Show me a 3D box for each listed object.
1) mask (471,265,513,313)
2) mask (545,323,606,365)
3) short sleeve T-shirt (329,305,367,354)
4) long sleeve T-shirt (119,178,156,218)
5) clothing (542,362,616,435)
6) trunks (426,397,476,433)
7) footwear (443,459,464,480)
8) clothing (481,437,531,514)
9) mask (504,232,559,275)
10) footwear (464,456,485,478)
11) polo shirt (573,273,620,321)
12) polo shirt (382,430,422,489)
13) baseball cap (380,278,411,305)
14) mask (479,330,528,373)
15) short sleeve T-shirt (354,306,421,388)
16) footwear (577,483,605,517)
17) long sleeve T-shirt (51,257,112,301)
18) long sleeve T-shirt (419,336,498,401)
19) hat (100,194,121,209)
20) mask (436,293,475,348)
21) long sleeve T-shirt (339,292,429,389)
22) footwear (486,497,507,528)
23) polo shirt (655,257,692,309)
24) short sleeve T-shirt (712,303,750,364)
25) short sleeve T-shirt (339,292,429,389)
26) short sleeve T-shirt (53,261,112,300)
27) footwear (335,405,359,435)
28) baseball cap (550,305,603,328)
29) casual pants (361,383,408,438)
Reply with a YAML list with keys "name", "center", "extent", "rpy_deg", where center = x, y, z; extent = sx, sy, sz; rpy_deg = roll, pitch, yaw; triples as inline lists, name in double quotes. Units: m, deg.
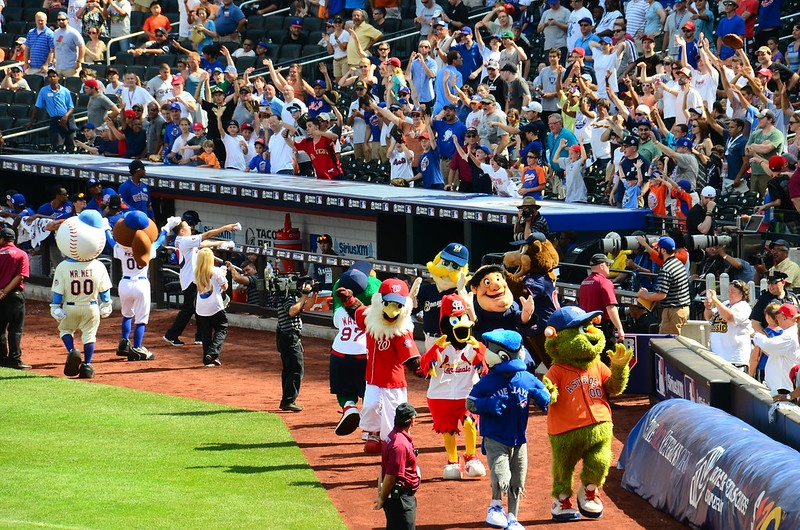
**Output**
- name: "mask"
  center: [1.283, 0.350, 18.466]
  extent: [0.546, 0.694, 0.530]
  rpy_deg: [-13, 3, -10]
- name: "mask"
  center: [2.265, 1.039, 17.212]
  extent: [0.803, 0.719, 0.841]
  rpy_deg: [0, -1, -12]
- name: "short sleeve T-shirt"
  center: [-0.635, 0.985, 19.159]
  extent: [0.695, 0.719, 0.407]
  rpy_deg: [1, -9, 20]
- name: "long sleeve T-shirt"
  center: [-5.342, -1.256, 26.776]
  extent: [0.700, 0.947, 0.323]
  rpy_deg: [-6, 2, -44]
- name: "clothing"
  center: [2.284, 1.732, 16.906]
  extent: [0.894, 1.000, 0.543]
  rpy_deg: [-3, -10, -9]
- name: "trunks"
  center: [0.690, 2.052, 17.875]
  extent: [0.669, 0.668, 0.452]
  rpy_deg: [-1, -2, -2]
- name: "footwear"
  center: [0.734, 2.852, 18.048]
  extent: [0.195, 0.220, 0.512]
  rpy_deg: [-1, -9, 3]
- name: "clothing"
  center: [1.344, 2.802, 16.824]
  extent: [0.514, 1.146, 0.430]
  rpy_deg: [-1, 13, 1]
- name: "mask"
  center: [1.985, -0.123, 19.964]
  extent: [0.857, 0.741, 0.688]
  rpy_deg: [5, 8, -1]
- name: "footwear"
  center: [1.035, 2.809, 18.023]
  extent: [0.184, 0.234, 0.353]
  rpy_deg: [-1, -8, -17]
- name: "polo shirt"
  center: [2.988, 0.464, 20.174]
  extent: [0.418, 0.686, 0.781]
  rpy_deg: [-2, 1, -30]
- name: "polo shirt"
  center: [-0.002, 2.456, 16.256]
  extent: [0.506, 0.860, 0.976]
  rpy_deg: [-2, 0, -9]
- name: "baseball cap"
  center: [-0.088, 0.372, 18.004]
  extent: [0.286, 0.236, 0.397]
  rpy_deg: [5, 11, -13]
- name: "mask"
  center: [1.335, 1.104, 17.020]
  extent: [0.500, 0.526, 0.529]
  rpy_deg: [-11, 3, -4]
- name: "short sleeve T-shirt"
  center: [-0.221, 1.158, 18.208]
  extent: [1.161, 0.885, 0.353]
  rpy_deg: [16, 14, 38]
- name: "footwear"
  center: [2.439, 3.088, 17.016]
  extent: [0.194, 0.242, 0.536]
  rpy_deg: [-3, 13, -13]
- name: "long sleeve T-shirt"
  center: [-5.303, 0.282, 22.016]
  extent: [0.801, 0.724, 0.314]
  rpy_deg: [-1, 21, -13]
- name: "long sleeve T-shirt"
  center: [0.830, 1.505, 18.059]
  extent: [1.115, 1.040, 0.751]
  rpy_deg: [1, -17, 5]
- name: "hat"
  center: [-5.605, -1.201, 25.602]
  extent: [0.332, 0.292, 0.517]
  rpy_deg: [-7, 27, -26]
- name: "mask"
  center: [0.767, 0.796, 17.999]
  extent: [0.642, 0.896, 0.464]
  rpy_deg: [1, -7, -19]
- name: "long sleeve T-shirt"
  center: [-0.180, 1.071, 18.161]
  extent: [1.519, 1.265, 0.469]
  rpy_deg: [16, 19, 30]
- name: "footwear"
  center: [1.229, 3.182, 16.743]
  extent: [0.266, 0.350, 0.241]
  rpy_deg: [0, 13, 2]
- name: "polo shirt"
  center: [4.266, 0.327, 20.632]
  extent: [0.366, 0.663, 0.703]
  rpy_deg: [10, 14, 42]
- name: "short sleeve T-shirt"
  center: [5.001, 1.029, 20.223]
  extent: [0.540, 0.959, 0.760]
  rpy_deg: [4, 0, -23]
- name: "short sleeve T-shirt"
  center: [-0.171, 1.077, 18.151]
  extent: [1.557, 1.265, 0.469]
  rpy_deg: [16, 18, 30]
- name: "short sleeve T-shirt"
  center: [-5.261, 0.288, 21.815]
  extent: [0.618, 0.508, 0.248]
  rpy_deg: [0, 16, -13]
- name: "footwear"
  center: [-0.736, 2.239, 18.498]
  extent: [0.330, 0.480, 0.410]
  rpy_deg: [-3, 13, -9]
- name: "baseball cap"
  center: [2.228, 0.697, 17.018]
  extent: [0.485, 0.194, 0.323]
  rpy_deg: [-18, 1, 29]
- name: "casual pants"
  center: [-0.327, 1.932, 18.289]
  extent: [0.683, 0.880, 0.483]
  rpy_deg: [-3, 26, -23]
